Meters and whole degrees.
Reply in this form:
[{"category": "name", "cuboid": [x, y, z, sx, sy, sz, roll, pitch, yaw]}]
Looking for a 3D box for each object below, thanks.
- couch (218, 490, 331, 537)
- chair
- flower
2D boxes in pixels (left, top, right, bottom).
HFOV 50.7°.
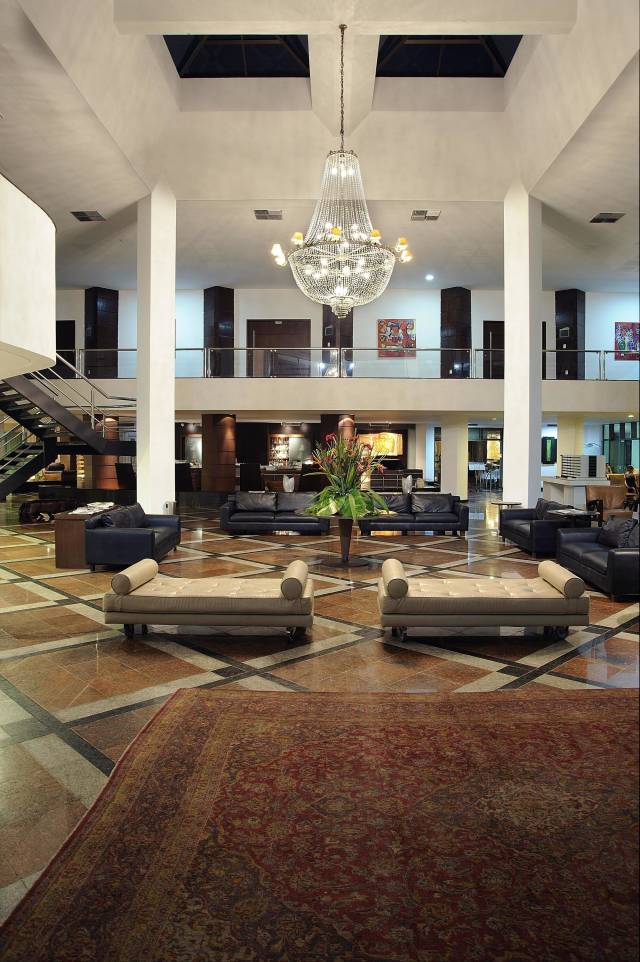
[{"category": "couch", "cuboid": [-0.739, 0.492, 10.967, 1.612, 0.582, 0.748, 0, 2, 3]}, {"category": "chair", "cuboid": [-2.255, 0.637, 8.162, 0.782, 0.655, 1.700, 0, 2, -2]}, {"category": "flower", "cuboid": [0.326, -0.073, 7.582, 0.911, 1.060, 0.983, -3, 8, -24]}]
